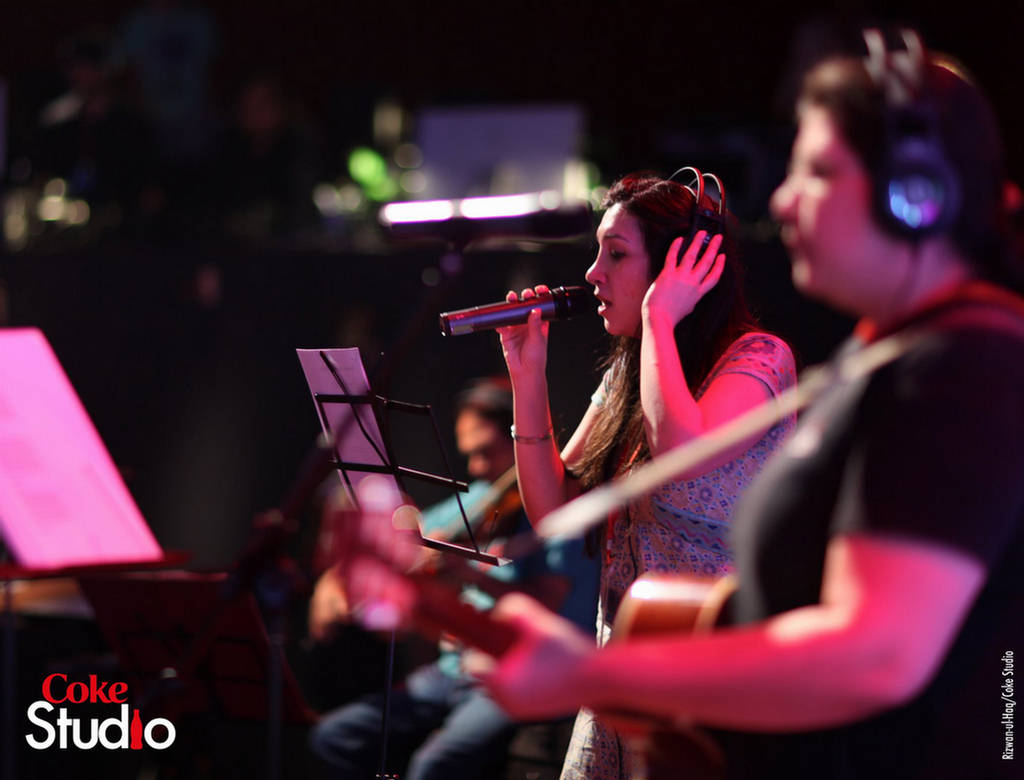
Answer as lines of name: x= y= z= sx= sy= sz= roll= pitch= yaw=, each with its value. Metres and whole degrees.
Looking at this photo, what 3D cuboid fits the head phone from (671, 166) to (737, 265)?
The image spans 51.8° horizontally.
head phone: x=0.399 y=-0.377 z=2.196 sx=0.092 sy=0.121 sz=0.128 roll=11 pitch=14 yaw=-4
